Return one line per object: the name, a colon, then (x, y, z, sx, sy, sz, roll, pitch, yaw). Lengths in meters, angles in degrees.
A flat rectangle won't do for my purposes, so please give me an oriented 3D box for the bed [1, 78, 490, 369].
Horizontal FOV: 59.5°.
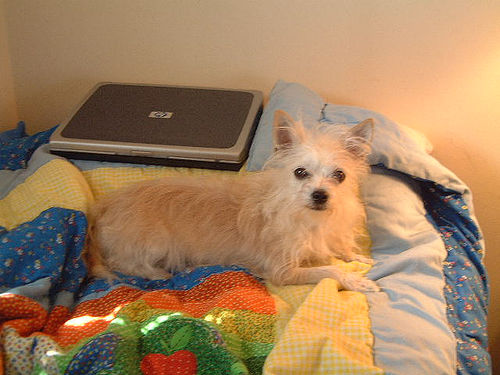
bed: (0.014, 0.200, 2.244, 2.615, 0.672, 1.618, 4, 37, -13)
